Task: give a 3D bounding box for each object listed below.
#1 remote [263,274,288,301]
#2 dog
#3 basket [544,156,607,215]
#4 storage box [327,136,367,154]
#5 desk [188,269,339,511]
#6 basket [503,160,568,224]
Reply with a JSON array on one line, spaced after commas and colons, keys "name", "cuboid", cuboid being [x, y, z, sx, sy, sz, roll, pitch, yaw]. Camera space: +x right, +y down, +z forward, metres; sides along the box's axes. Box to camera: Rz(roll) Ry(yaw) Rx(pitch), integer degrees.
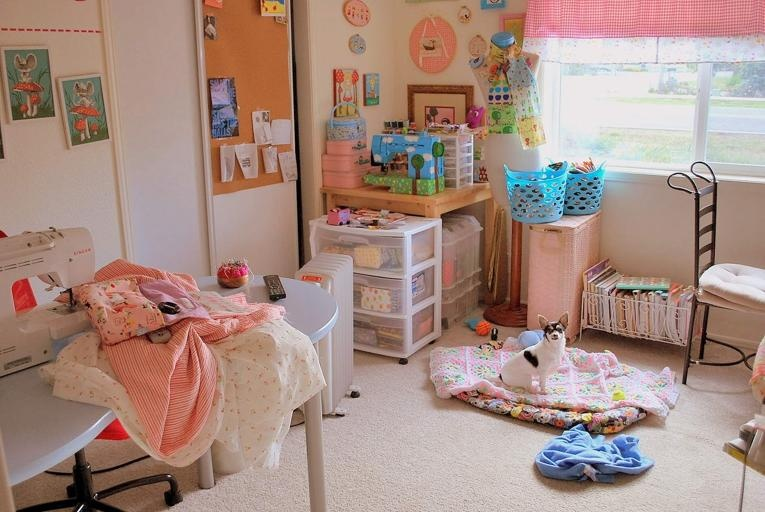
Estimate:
[{"name": "remote", "cuboid": [-0.483, 0.145, 2.430, 0.085, 0.038, 0.171, -4, 33, -19]}, {"name": "dog", "cuboid": [0.915, 0.579, 3.253, 0.362, 0.467, 0.248, 5, 12, 40]}, {"name": "basket", "cuboid": [1.385, -0.512, 4.050, 0.413, 0.383, 0.341, -3, 12, -1]}, {"name": "storage box", "cuboid": [-0.268, -0.813, 4.062, 0.323, 0.106, 0.167, -3, 19, -6]}, {"name": "desk", "cuboid": [-0.490, 0.544, 2.648, 0.819, 0.723, 1.003, 0, 9, 6]}, {"name": "basket", "cuboid": [1.096, -0.448, 3.902, 0.459, 0.415, 0.429, 3, 23, 18]}]
